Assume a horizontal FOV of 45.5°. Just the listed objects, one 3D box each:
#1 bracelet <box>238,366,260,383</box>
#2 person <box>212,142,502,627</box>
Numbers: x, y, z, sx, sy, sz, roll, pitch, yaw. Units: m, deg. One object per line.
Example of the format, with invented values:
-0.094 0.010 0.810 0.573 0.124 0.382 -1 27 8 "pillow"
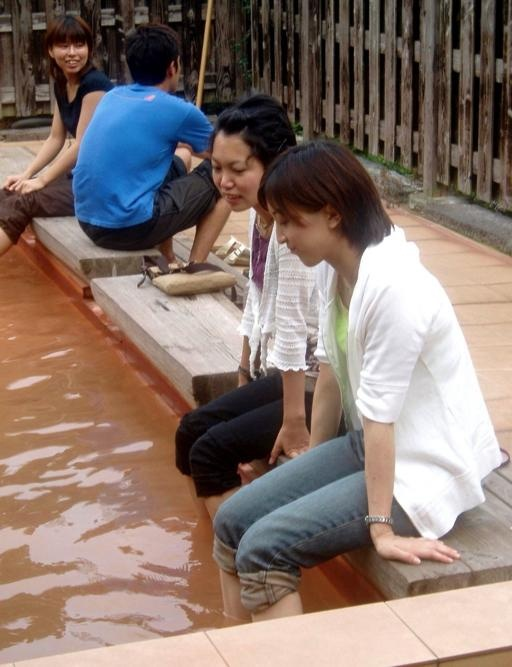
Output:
-0.026 0.158 2.354 0.055 0.077 0.064 13 13 41 "bracelet"
0.229 -0.024 2.059 0.972 1.767 0.988 -1 2 -4 "person"
